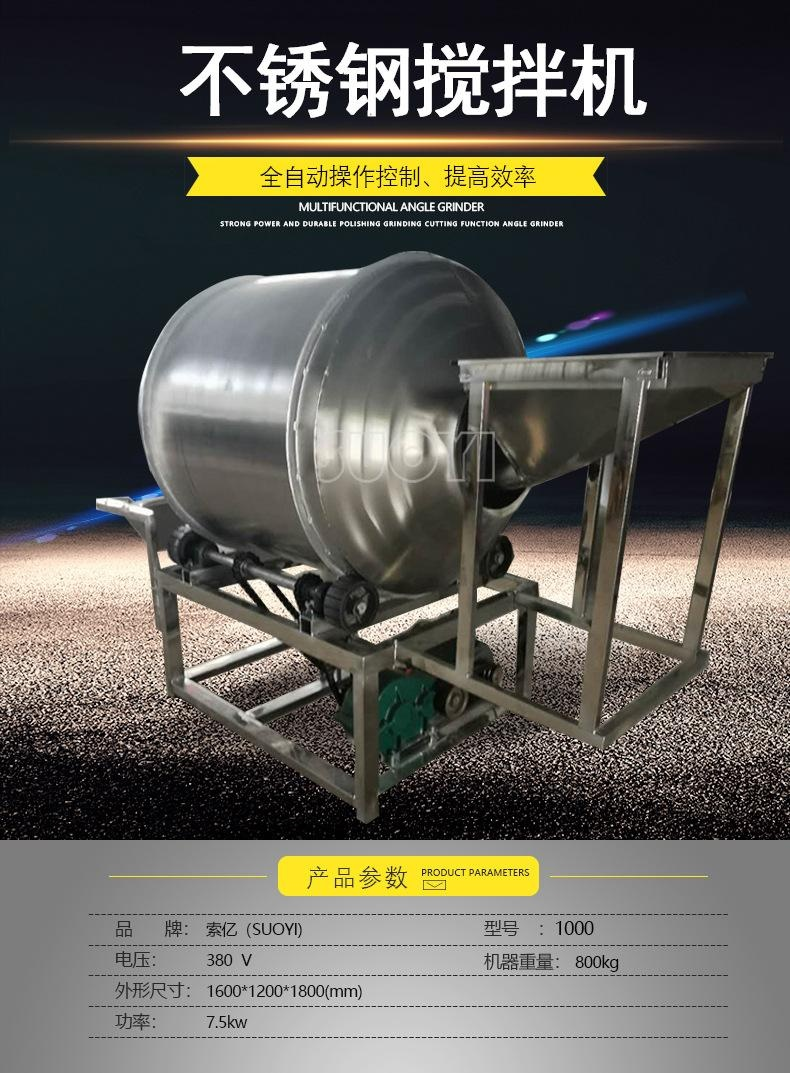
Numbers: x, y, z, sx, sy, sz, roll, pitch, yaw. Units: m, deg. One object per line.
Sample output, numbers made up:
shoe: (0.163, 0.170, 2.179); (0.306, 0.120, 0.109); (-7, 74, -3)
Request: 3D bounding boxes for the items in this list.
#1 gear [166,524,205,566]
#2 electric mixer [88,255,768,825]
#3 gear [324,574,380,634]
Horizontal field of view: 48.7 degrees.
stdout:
gear: (-0.736, 0.038, 3.063); (0.056, 0.118, 0.114); (6, 68, 19)
electric mixer: (0.028, -0.052, 2.853); (1.026, 1.425, 2.150); (-12, 18, -44)
gear: (-0.128, 0.193, 2.479); (0.077, 0.160, 0.174); (2, 8, 39)
